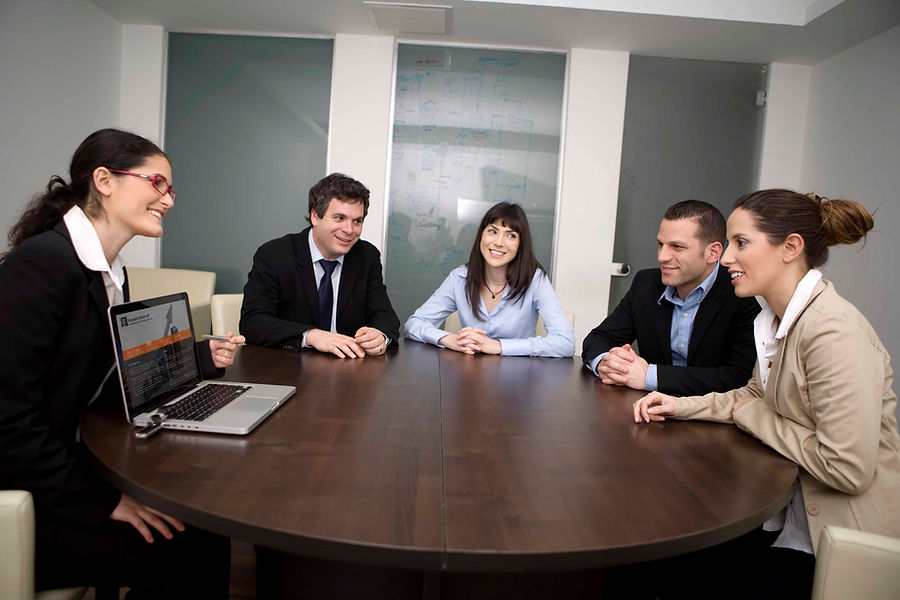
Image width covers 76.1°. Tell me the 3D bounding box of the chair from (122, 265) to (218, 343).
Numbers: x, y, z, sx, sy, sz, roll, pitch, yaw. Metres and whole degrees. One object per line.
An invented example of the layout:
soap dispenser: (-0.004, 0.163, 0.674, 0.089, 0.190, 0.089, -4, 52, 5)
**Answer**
chair: (-1.533, 0.015, 3.187, 0.513, 0.496, 0.409, 1, -3, 0)

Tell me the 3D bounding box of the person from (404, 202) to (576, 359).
person: (0.247, -0.145, 3.396, 0.983, 0.826, 0.711, 3, 11, 12)

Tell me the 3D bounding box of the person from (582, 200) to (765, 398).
person: (1.183, 0.028, 3.015, 0.864, 1.062, 0.940, -3, 9, -5)

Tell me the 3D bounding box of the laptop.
laptop: (-0.867, 0.275, 2.107, 0.480, 0.440, 0.584, 2, 8, 6)
